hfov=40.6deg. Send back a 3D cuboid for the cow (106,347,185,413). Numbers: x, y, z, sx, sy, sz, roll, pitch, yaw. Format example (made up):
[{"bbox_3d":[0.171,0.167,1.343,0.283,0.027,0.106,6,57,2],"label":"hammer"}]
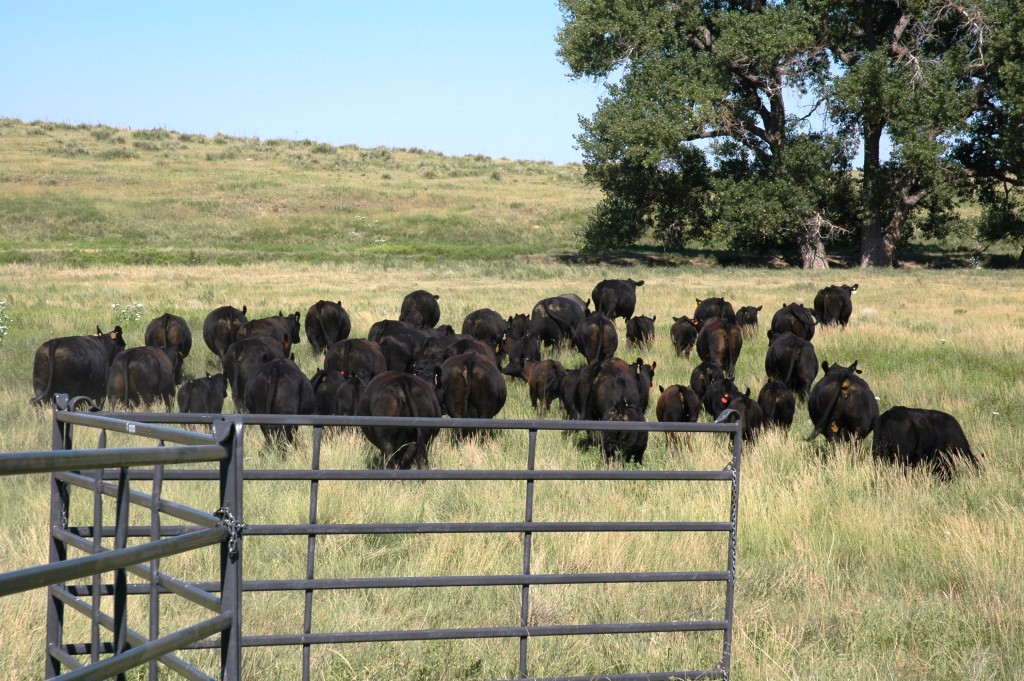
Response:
[{"bbox_3d":[-10.381,0.966,39.713,0.917,1.788,3.131,2,5,9],"label":"cow"}]

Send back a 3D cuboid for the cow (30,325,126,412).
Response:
[{"bbox_3d":[-12.496,1.037,40.250,1.382,2.695,4.445,0,4,11],"label":"cow"}]

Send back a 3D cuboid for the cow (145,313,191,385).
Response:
[{"bbox_3d":[-10.573,-0.119,42.196,0.848,1.633,2.840,0,7,-10],"label":"cow"}]

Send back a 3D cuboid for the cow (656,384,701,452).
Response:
[{"bbox_3d":[4.548,1.997,37.422,1.228,1.529,1.883,2,5,-1],"label":"cow"}]

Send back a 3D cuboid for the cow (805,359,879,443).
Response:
[{"bbox_3d":[8.901,1.655,36.987,1.777,2.086,1.656,3,5,16],"label":"cow"}]
